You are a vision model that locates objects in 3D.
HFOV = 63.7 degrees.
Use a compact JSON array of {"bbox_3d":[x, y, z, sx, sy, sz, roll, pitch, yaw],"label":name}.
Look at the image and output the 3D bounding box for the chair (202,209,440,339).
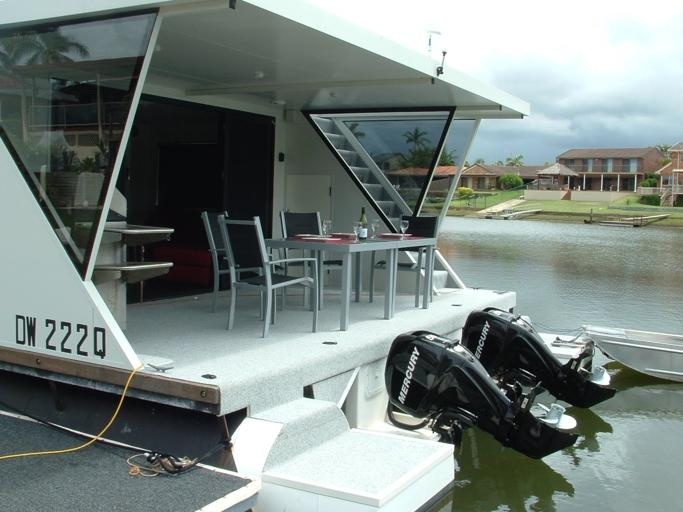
[{"bbox_3d":[-0.182,0.054,5.695,1.306,0.826,2.367,6,7,42],"label":"chair"}]
